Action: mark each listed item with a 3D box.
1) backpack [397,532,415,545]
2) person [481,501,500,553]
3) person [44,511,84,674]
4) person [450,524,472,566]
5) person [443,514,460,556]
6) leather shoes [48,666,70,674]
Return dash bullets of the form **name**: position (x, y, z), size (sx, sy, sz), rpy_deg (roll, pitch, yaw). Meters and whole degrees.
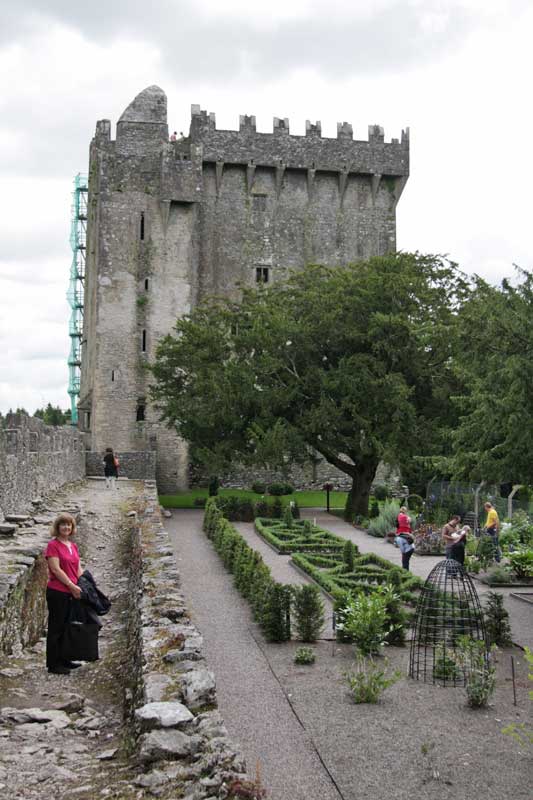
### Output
- **backpack**: position (2.789, 2.709, 19.298), size (0.220, 0.101, 0.256), rpy_deg (13, 23, 1)
- **person**: position (4.988, 2.847, 21.415), size (0.358, 1.170, 1.564), rpy_deg (4, 1, 14)
- **person**: position (-2.081, 2.020, 9.894), size (0.361, 1.280, 0.578), rpy_deg (3, 1, -11)
- **person**: position (3.768, 2.842, 18.846), size (0.439, 0.476, 1.402), rpy_deg (4, -6, 16)
- **person**: position (3.505, 2.586, 18.403), size (0.307, 0.742, 0.517), rpy_deg (4, 1, 11)
- **leather shoes**: position (-2.166, 2.808, 10.093), size (0.162, 0.071, 0.087), rpy_deg (0, 5, -5)
